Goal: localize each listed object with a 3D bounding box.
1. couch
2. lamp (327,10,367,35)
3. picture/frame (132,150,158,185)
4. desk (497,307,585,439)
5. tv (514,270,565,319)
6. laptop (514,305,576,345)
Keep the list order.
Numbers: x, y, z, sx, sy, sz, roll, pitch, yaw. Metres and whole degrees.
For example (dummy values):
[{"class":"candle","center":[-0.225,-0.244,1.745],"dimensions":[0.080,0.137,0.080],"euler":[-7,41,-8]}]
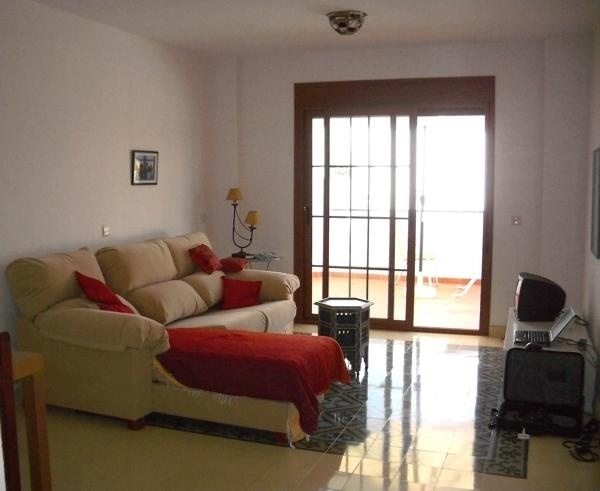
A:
[{"class":"couch","center":[-0.870,0.784,3.658],"dimensions":[1.522,0.763,1.607],"euler":[2,4,22]},{"class":"lamp","center":[0.419,-2.007,4.406],"dimensions":[0.364,0.133,0.270],"euler":[1,9,7]},{"class":"picture/frame","center":[-1.627,-0.810,5.069],"dimensions":[0.016,0.275,0.363],"euler":[3,6,21]},{"class":"desk","center":[1.786,1.010,3.707],"dimensions":[0.528,1.019,0.437],"euler":[2,-1,17]},{"class":"tv","center":[2.174,0.442,4.486],"dimensions":[0.365,0.401,0.379],"euler":[0,5,9]},{"class":"laptop","center":[1.989,0.702,3.986],"dimensions":[0.380,0.245,0.401],"euler":[2,7,11]}]
